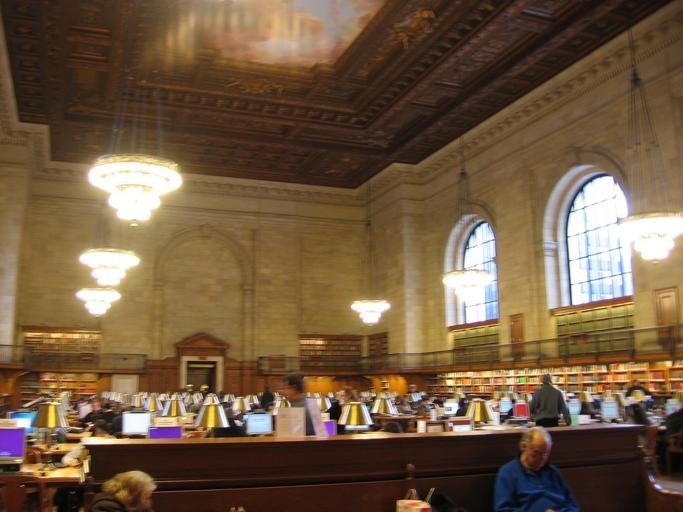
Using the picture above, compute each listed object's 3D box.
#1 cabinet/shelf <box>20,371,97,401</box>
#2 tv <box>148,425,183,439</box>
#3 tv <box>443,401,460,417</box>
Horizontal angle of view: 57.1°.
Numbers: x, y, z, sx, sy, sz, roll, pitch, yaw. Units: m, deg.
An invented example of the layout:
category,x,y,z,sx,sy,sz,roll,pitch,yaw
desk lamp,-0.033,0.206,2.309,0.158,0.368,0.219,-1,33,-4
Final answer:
category,x,y,z,sx,sy,sz,roll,pitch,yaw
cabinet/shelf,-8.580,3.905,18.931,2.183,0.813,0.442,2,-18,-18
tv,-2.185,2.102,7.537,0.508,0.124,0.231,-11,-17,36
tv,2.217,3.044,12.575,0.275,0.197,0.242,8,-16,-30
